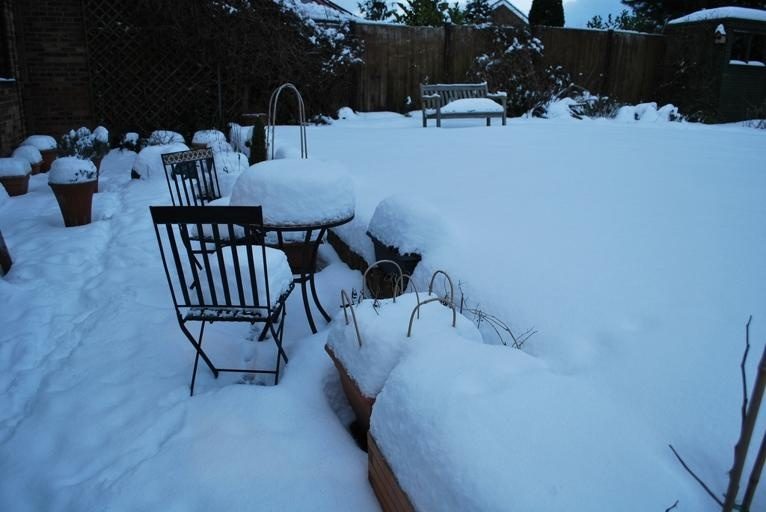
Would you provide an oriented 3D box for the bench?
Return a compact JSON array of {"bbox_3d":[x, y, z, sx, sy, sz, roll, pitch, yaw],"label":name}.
[{"bbox_3d":[1.194,-2.273,7.801,1.205,0.613,1.552,1,17,6],"label":"bench"}]
